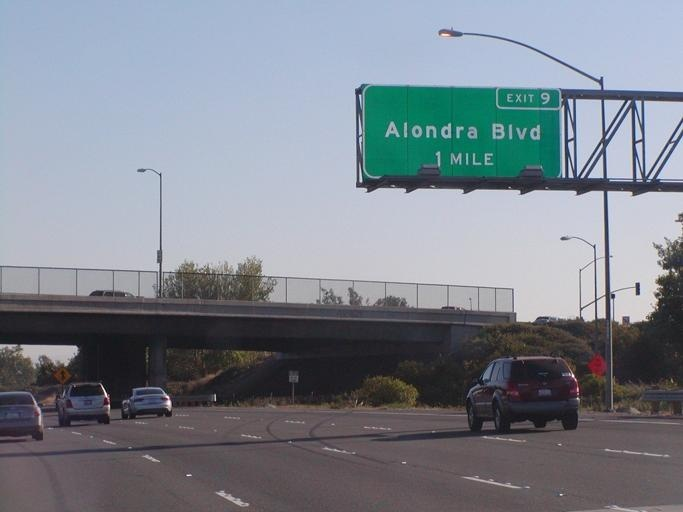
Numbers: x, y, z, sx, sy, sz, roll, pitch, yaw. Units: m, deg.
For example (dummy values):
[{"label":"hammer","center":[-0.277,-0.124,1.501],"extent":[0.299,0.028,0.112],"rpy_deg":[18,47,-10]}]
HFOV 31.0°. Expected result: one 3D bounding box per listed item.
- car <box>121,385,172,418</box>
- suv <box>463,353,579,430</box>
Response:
[{"label":"car","center":[-9.763,7.234,62.050],"extent":[2.343,1.546,2.044],"rpy_deg":[-2,-7,4]},{"label":"suv","center":[6.840,5.144,46.994],"extent":[3.145,2.963,6.100],"rpy_deg":[-2,-4,-10]}]
